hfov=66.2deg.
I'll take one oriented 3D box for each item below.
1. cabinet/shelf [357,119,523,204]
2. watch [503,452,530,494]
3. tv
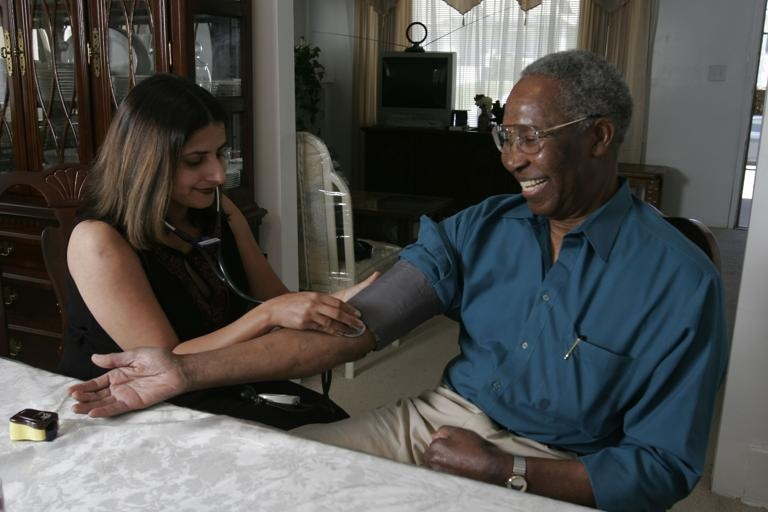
[{"bbox_3d":[0.491,-0.826,5.255,1.169,1.059,0.457,7,29,17],"label":"cabinet/shelf"},{"bbox_3d":[0.311,0.508,1.375,0.054,0.082,0.078,15,-8,-4],"label":"watch"},{"bbox_3d":[0.360,-1.810,6.392,0.864,0.785,0.465,4,9,18],"label":"tv"}]
